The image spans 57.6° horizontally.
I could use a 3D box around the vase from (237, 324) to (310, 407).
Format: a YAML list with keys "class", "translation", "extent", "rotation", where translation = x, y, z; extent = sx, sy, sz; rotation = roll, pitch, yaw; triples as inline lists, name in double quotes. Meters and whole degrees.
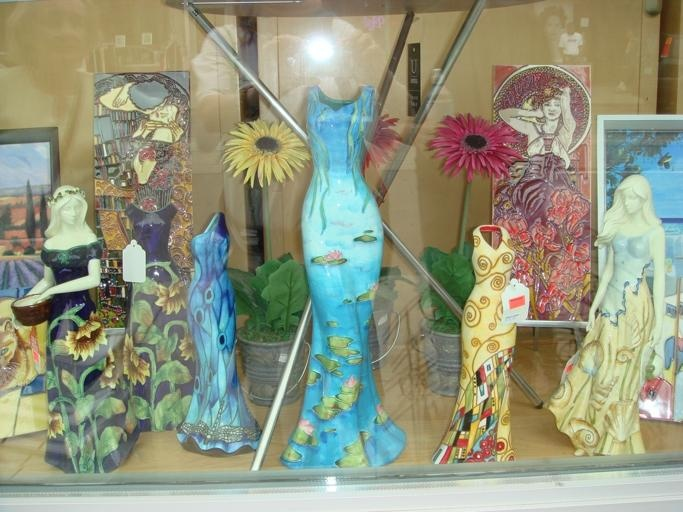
- class: "vase"
  translation: [-0.162, 0.248, 1.424]
  extent: [0.146, 0.134, 0.141]
  rotation: [2, -1, -34]

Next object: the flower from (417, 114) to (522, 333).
- class: "flower"
  translation: [0.299, -0.103, 1.426]
  extent: [0.221, 0.430, 0.107]
  rotation: [1, -7, 5]
